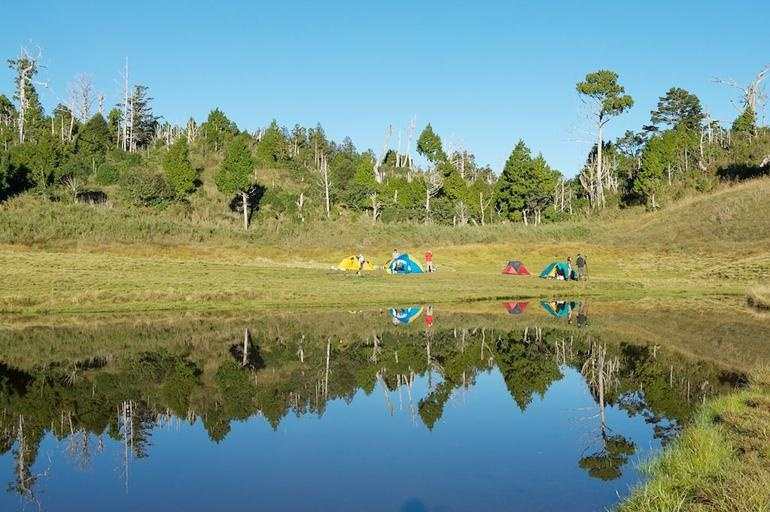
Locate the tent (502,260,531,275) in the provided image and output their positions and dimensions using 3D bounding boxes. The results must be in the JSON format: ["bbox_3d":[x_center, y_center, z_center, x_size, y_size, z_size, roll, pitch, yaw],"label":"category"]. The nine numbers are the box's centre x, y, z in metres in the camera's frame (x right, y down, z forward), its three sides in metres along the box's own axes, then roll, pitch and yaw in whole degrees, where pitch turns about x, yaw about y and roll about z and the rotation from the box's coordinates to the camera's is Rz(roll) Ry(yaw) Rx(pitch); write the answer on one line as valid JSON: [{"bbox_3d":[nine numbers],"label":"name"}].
[{"bbox_3d":[11.302,1.031,64.434,2.142,0.870,1.857,1,10,5],"label":"tent"}]

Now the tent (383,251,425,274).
[{"bbox_3d":[1.540,0.532,62.628,2.736,1.688,1.911,-1,10,-3],"label":"tent"}]
